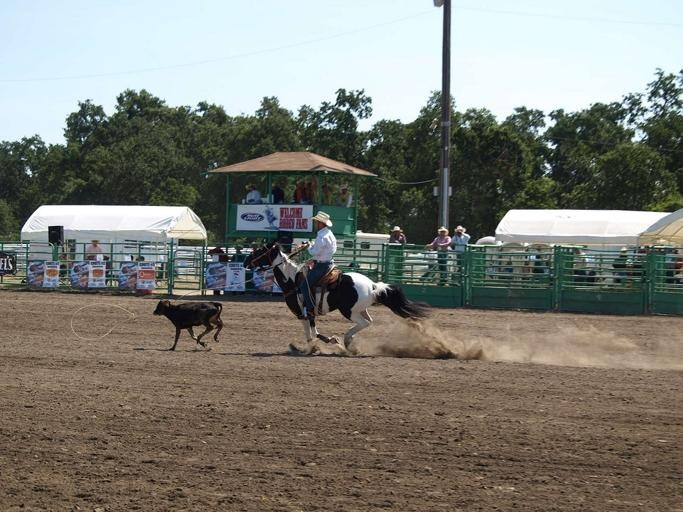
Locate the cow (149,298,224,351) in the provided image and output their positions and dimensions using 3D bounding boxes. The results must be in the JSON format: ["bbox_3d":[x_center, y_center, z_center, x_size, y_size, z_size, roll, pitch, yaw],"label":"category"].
[{"bbox_3d":[-2.872,1.265,17.676,1.182,1.043,1.221,-2,12,-10],"label":"cow"}]

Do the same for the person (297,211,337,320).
[{"bbox_3d":[-0.432,0.223,17.324,0.658,2.058,0.689,0,13,-2],"label":"person"}]

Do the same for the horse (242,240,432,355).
[{"bbox_3d":[-0.064,0.799,17.662,3.700,1.814,0.794,1,3,24],"label":"horse"}]
